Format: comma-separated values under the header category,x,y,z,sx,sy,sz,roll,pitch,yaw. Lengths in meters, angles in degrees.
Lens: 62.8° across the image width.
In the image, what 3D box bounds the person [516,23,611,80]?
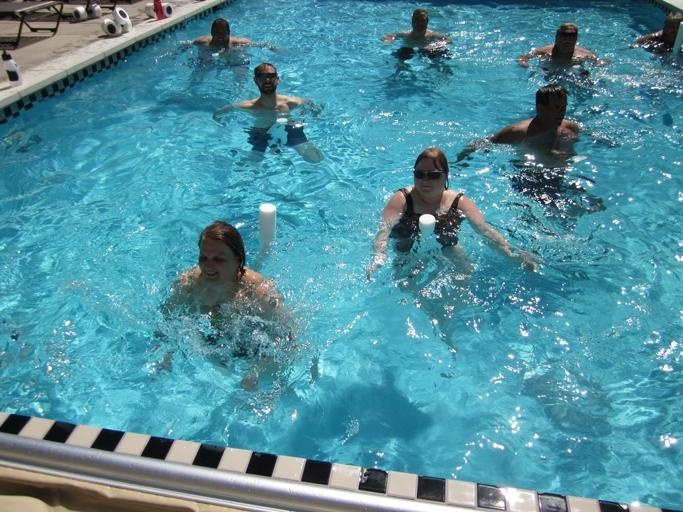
category,x,y,z,sx,sy,sz,roll,pitch,yaw
person,3.294,-3.146,8.348,0.860,0.619,0.978,-25,43,-24

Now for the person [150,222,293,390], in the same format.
category,x,y,z,sx,sy,sz,roll,pitch,yaw
person,-0.945,0.448,4.475,1.286,1.064,0.817,11,29,10

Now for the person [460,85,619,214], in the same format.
category,x,y,z,sx,sy,sz,roll,pitch,yaw
person,2.260,-1.176,6.307,2.195,1.065,1.059,-4,35,-8

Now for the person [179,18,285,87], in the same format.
category,x,y,z,sx,sy,sz,roll,pitch,yaw
person,-1.966,-3.279,9.222,1.902,1.027,0.439,0,11,-13
